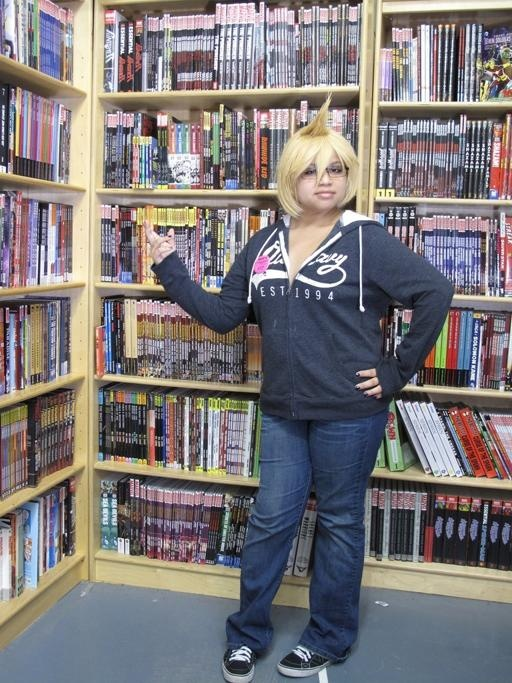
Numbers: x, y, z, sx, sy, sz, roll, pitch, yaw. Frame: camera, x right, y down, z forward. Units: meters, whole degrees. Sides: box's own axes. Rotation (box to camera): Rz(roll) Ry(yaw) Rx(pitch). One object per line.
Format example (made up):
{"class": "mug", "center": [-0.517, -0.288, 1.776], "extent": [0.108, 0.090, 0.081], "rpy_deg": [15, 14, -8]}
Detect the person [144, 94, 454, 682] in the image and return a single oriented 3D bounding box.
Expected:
{"class": "person", "center": [0.116, 0.163, 1.713], "extent": [0.760, 1.635, 0.395], "rpy_deg": [0, 5, -4]}

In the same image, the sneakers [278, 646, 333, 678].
{"class": "sneakers", "center": [0.139, 0.935, 1.729], "extent": [0.157, 0.061, 0.058], "rpy_deg": [7, -4, -21]}
